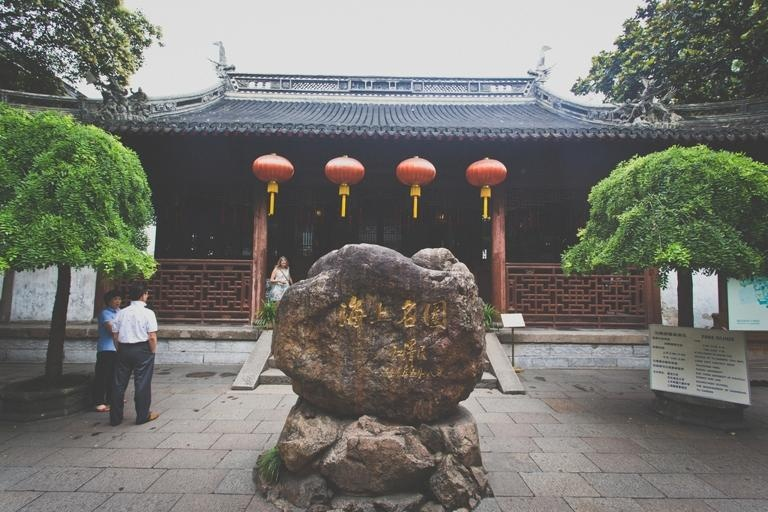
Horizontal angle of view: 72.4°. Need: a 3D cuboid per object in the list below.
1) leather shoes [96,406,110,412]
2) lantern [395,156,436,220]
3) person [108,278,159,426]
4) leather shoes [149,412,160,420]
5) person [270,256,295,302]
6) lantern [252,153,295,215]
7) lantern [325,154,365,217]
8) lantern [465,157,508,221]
[{"bbox_3d":[-5.338,2.866,9.866,0.295,0.122,0.123,0,-3,-1],"label":"leather shoes"},{"bbox_3d":[0.774,-1.654,12.974,1.171,1.479,1.143,1,4,-3],"label":"lantern"},{"bbox_3d":[-4.602,1.822,9.570,0.790,2.701,0.351,-2,0,-16],"label":"person"},{"bbox_3d":[-4.276,2.937,9.668,0.081,0.064,0.157,7,11,11],"label":"leather shoes"},{"bbox_3d":[-2.599,0.569,12.871,0.527,1.108,0.667,-2,0,-13],"label":"person"},{"bbox_3d":[-2.731,-1.695,12.805,0.971,1.322,0.959,2,-3,-8],"label":"lantern"},{"bbox_3d":[-1.013,-1.662,12.932,0.986,1.372,1.001,3,-5,-43],"label":"lantern"},{"bbox_3d":[2.531,-1.614,13.010,1.148,1.474,1.092,-1,0,-6],"label":"lantern"}]
